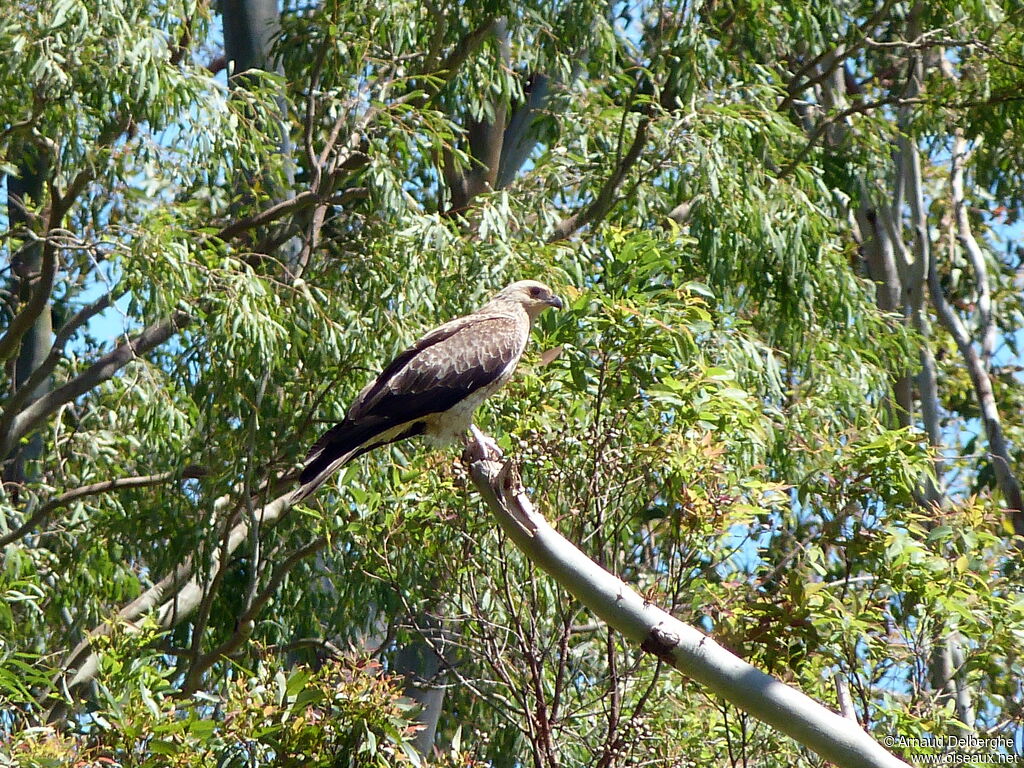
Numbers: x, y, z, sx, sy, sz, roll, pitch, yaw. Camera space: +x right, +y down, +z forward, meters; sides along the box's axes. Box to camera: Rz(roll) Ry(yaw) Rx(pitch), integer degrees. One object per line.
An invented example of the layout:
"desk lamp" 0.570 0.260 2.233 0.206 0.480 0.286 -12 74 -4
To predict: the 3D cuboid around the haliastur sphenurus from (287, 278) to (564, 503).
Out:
"haliastur sphenurus" -0.452 0.029 11.582 1.517 1.046 0.554 -5 -4 -3
